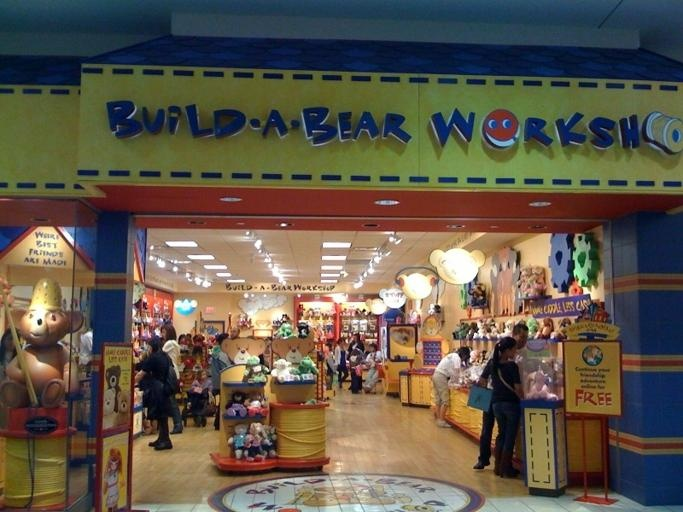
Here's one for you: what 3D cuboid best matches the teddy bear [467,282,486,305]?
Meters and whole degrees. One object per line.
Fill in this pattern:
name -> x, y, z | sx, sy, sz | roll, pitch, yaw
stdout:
teddy bear -> 2.947, 0.919, 12.537 | 0.292, 0.417, 0.427 | 1, -32, 10

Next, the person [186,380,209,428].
person -> -2.838, 2.900, 11.803 | 0.450, 0.998, 0.433 | -1, 5, -25

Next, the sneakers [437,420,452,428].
sneakers -> 2.035, 3.292, 11.399 | 0.257, 0.111, 0.260 | 2, -7, -13

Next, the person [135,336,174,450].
person -> -3.043, 2.237, 9.632 | 0.549, 1.790, 0.715 | 2, -7, -16

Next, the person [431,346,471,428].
person -> 2.227, 2.576, 11.498 | 0.597, 1.547, 1.085 | 2, -7, -18

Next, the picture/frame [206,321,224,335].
picture/frame -> -5.253, 2.948, 24.221 | 0.845, 0.553, 0.969 | 2, -7, -13

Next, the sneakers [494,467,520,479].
sneakers -> 2.247, 2.877, 7.735 | 0.340, 0.112, 0.193 | 1, -7, -2
